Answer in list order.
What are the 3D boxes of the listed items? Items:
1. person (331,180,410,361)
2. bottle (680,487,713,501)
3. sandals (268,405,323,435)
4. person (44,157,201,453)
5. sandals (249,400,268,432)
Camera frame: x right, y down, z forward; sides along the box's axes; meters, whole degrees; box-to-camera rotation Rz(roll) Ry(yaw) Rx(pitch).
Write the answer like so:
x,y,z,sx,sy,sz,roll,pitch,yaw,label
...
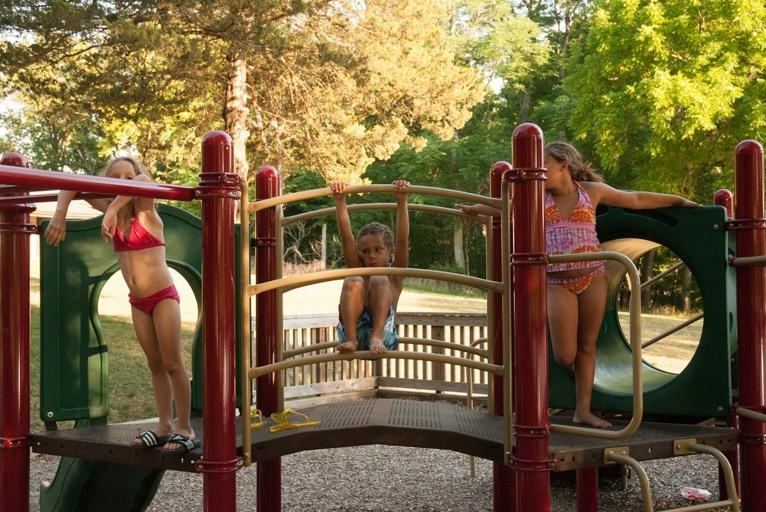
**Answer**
x,y,z,sx,sy,sz,roll,pitch,yaw,label
-0.096,0.125,9.035,0.711,1.138,1.182,-2,1,-1,person
3.331,2.492,10.266,0.302,0.093,0.424,-2,1,26,bottle
-0.794,1.468,8.714,0.407,0.145,0.197,-3,1,4,sandals
-2.231,0.380,8.740,1.175,2.229,0.844,-2,1,4,person
-1.157,1.483,8.858,0.093,0.179,0.335,-1,-2,12,sandals
